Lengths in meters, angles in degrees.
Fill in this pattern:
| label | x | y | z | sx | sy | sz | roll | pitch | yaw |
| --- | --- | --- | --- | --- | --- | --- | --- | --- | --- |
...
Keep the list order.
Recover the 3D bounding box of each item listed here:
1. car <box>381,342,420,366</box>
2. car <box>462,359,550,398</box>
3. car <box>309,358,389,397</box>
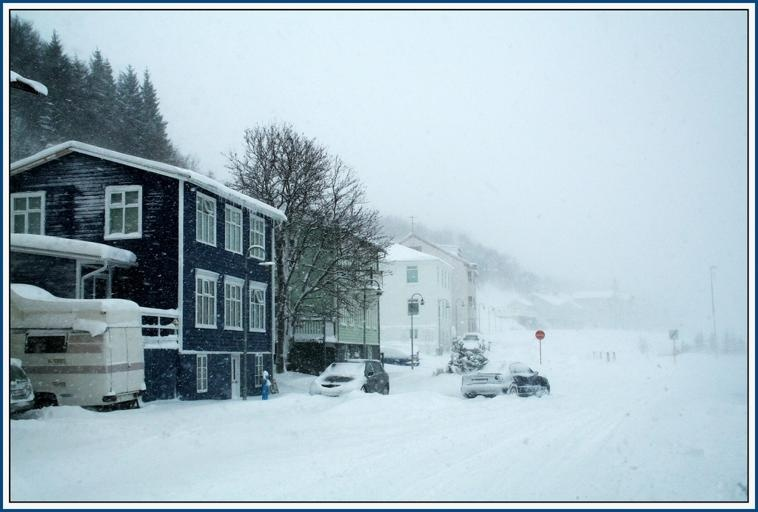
| label | x | y | z | sx | sy | sz | roll | pitch | yaw |
| --- | --- | --- | --- | --- | --- | --- | --- | --- | --- |
| car | 1.851 | 8.803 | 59.638 | 3.631 | 1.347 | 1.809 | 2 | -1 | 21 |
| car | 5.682 | 5.572 | 30.356 | 4.097 | 1.539 | 1.322 | 4 | -11 | -29 |
| car | -1.302 | 5.521 | 30.733 | 2.387 | 1.659 | 4.690 | -6 | -12 | 20 |
